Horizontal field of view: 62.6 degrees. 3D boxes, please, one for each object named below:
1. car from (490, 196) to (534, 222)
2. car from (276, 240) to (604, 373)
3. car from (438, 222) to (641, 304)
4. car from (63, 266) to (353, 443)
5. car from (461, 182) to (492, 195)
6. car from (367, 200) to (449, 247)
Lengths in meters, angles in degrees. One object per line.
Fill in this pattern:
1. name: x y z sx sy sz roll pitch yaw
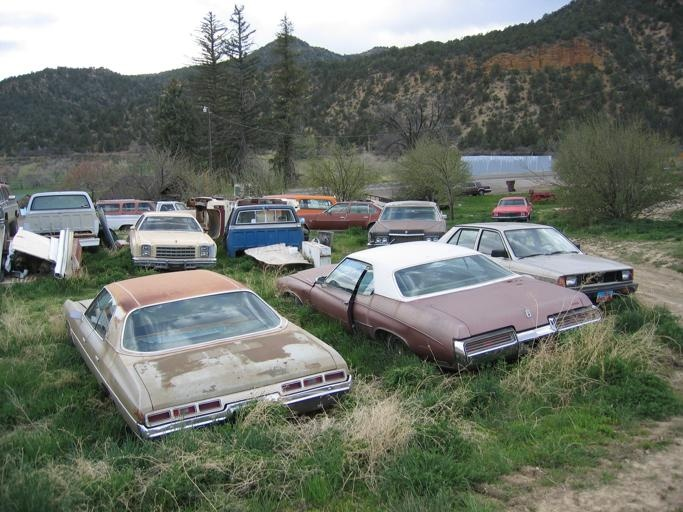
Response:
1. car: 8.039 -2.091 26.470 1.690 0.893 2.602 3 14 18
2. car: 1.049 0.543 7.806 1.741 0.899 2.891 -14 23 -35
3. car: 3.326 -0.061 9.963 1.588 1.009 2.831 -6 15 -29
4. car: -1.724 1.062 6.613 3.456 1.210 2.143 6 14 28
5. car: 11.959 -5.914 50.292 1.083 1.287 4.285 10 17 42
6. car: 1.714 -0.832 15.089 1.160 0.773 2.254 -3 14 5
